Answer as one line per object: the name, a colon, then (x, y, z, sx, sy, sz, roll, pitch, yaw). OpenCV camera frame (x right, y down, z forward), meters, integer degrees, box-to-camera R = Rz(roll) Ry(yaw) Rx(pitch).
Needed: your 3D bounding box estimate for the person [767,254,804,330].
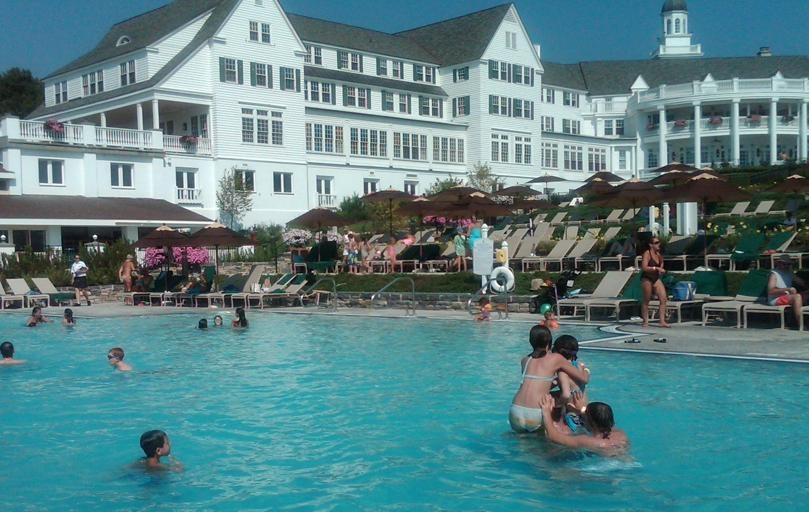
person: (11.547, 1.123, 27.011, 0.997, 1.653, 0.754, -2, -1, 21)

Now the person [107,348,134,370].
person: (-8.256, 3.033, 25.867, 0.652, 0.659, 0.819, -1, -1, -17)

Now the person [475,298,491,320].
person: (2.818, 1.936, 31.942, 0.561, 0.735, 1.803, -1, 0, 7)

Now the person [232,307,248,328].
person: (-5.976, 2.288, 32.297, 0.716, 0.766, 0.434, -2, 20, -9)

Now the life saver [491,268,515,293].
life saver: (3.621, 0.910, 33.016, 0.782, 0.975, 1.353, -1, -1, -16)

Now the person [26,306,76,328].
person: (-12.877, 2.324, 32.695, 1.480, 0.506, 0.940, 2, -1, 6)

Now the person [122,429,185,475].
person: (-5.661, 4.485, 20.335, 1.117, 0.913, 0.722, -1, -1, -13)

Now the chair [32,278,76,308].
chair: (-15.746, 1.639, 40.509, 2.231, 1.263, 1.405, -1, 0, 42)

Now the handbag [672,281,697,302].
handbag: (9.204, 1.186, 29.418, 0.776, 0.580, 0.615, 3, -2, -7)
